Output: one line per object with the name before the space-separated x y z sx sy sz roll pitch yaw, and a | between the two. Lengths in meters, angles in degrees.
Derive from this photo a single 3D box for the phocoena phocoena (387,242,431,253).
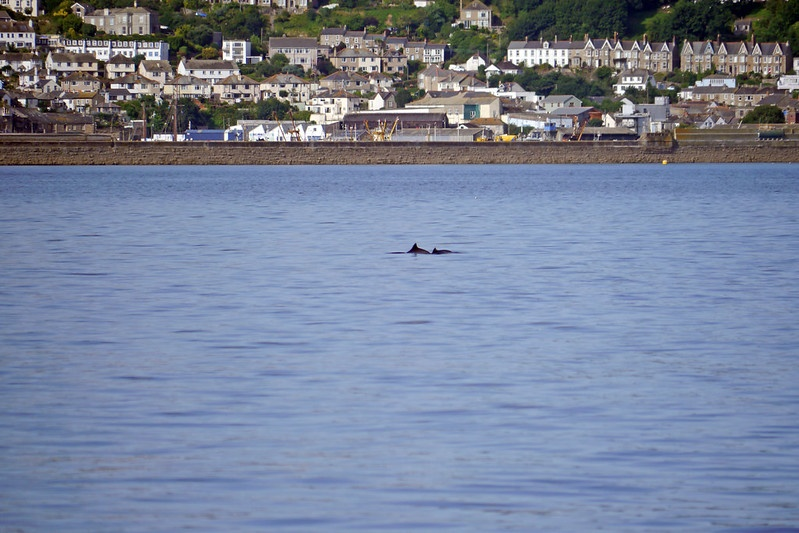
phocoena phocoena | 1.097 -1.369 183.987 2.997 0.788 0.909 3 12 0
